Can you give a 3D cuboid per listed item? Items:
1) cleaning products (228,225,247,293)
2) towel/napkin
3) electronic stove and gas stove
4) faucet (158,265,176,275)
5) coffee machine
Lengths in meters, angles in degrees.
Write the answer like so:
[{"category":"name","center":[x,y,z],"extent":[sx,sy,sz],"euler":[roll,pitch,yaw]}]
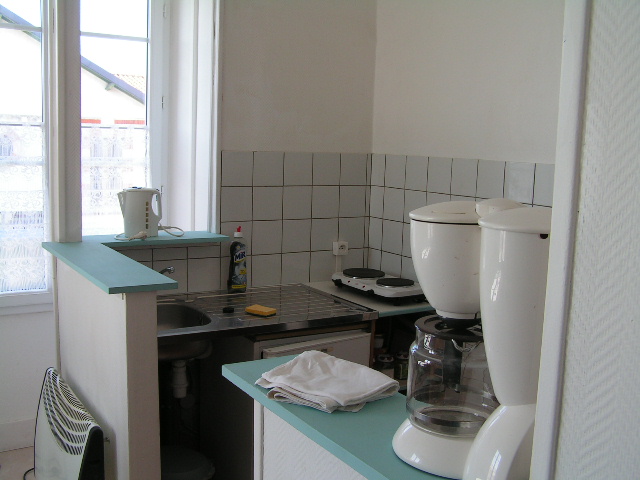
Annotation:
[{"category":"cleaning products","center":[-0.460,0.106,2.895],"extent":[0.116,0.369,0.087],"euler":[-3,8,-11]},{"category":"towel/napkin","center":[0.016,0.328,1.324],"extent":[0.234,0.073,0.369],"euler":[-1,4,-41]},{"category":"electronic stove and gas stove","center":[0.299,0.260,2.920],"extent":[0.309,0.112,0.557],"euler":[-2,8,-31]},{"category":"faucet","center":[-0.772,0.157,2.646],"extent":[0.089,0.032,0.052],"euler":[0,3,25]},{"category":"coffee machine","center":[0.249,0.177,1.022],"extent":[0.211,0.506,0.216],"euler":[1,8,20]}]
